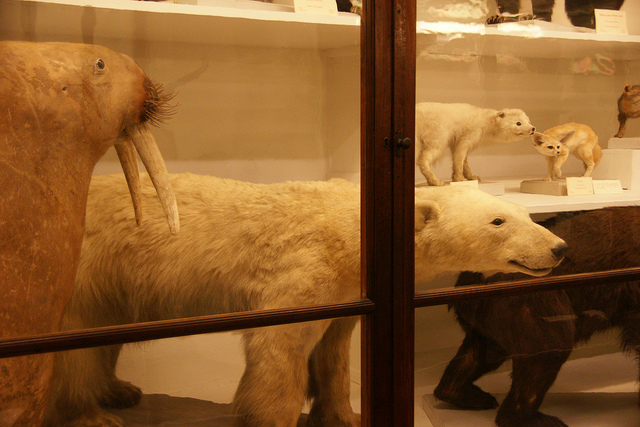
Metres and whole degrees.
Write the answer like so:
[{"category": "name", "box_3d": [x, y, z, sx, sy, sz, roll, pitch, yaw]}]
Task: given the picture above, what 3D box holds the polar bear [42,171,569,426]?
[{"category": "polar bear", "box_3d": [0.062, 0.164, 2.408, 2.196, 1.090, 0.618, -4, 11, -9]}]
